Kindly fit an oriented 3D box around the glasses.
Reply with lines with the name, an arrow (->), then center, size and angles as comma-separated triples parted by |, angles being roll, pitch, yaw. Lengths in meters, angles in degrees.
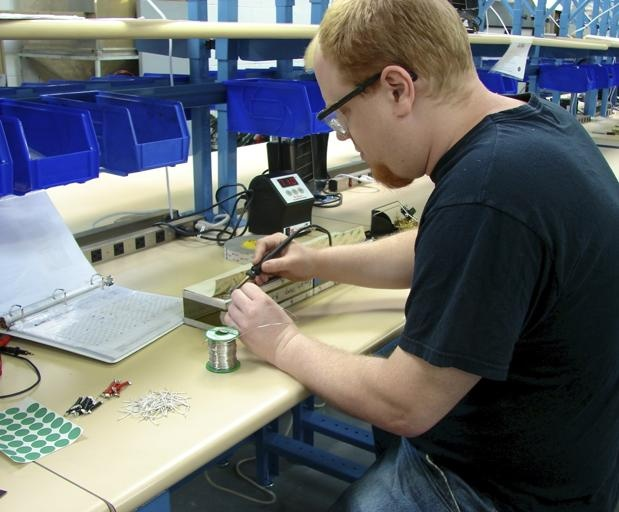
glasses -> 0.100, -0.270, 0.989 | 0.124, 0.030, 0.115 | -32, 8, 2
